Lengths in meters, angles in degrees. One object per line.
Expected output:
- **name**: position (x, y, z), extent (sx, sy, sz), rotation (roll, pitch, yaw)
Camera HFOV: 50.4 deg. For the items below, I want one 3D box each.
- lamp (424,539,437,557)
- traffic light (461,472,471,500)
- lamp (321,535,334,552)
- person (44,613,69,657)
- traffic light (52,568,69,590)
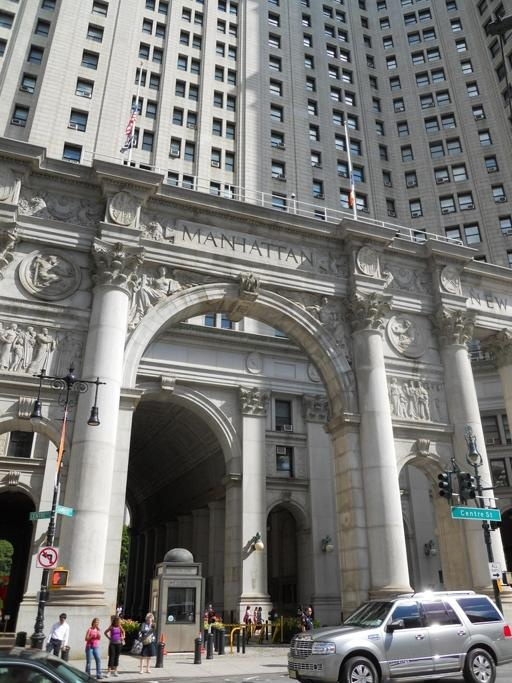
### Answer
- **lamp**: position (11.682, 13.894, 36.408), extent (1.091, 0.893, 0.644), rotation (1, 14, -33)
- **traffic light**: position (6.505, 4.488, 16.857), extent (0.285, 0.814, 0.877), rotation (-11, -23, 36)
- **lamp**: position (4.370, 12.591, 33.576), extent (0.810, 0.849, 0.809), rotation (10, 12, 6)
- **person**: position (-4.543, 6.810, 12.372), extent (0.405, 1.116, 0.328), rotation (16, 0, -20)
- **traffic light**: position (-5.294, 6.340, 14.624), extent (0.482, 0.639, 0.640), rotation (1, -34, -18)
